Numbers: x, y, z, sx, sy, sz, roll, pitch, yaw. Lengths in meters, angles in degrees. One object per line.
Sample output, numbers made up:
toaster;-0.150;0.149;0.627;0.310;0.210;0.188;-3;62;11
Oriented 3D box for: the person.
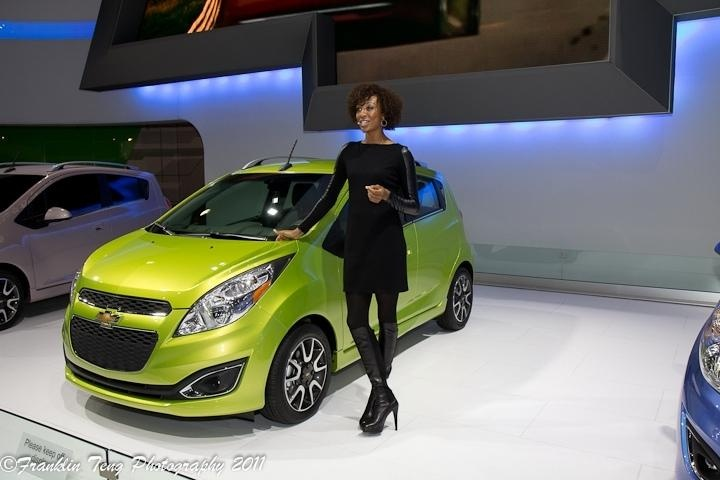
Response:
person;0.078;0.153;3.143;0.494;2.502;0.784;-6;11;-32
